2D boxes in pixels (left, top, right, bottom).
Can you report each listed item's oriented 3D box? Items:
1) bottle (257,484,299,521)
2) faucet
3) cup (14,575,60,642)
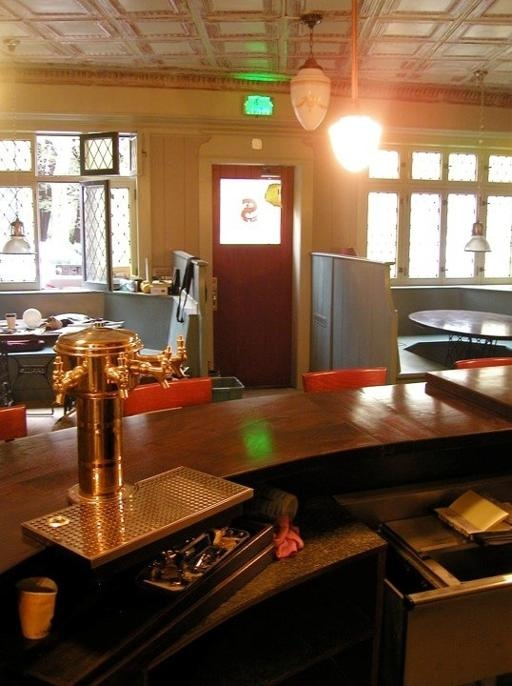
[{"bbox_3d":[0.054,0.362,1.260,0.080,0.030,0.082,4,6,0],"label":"bottle"},{"bbox_3d":[-0.223,0.046,0.918,0.221,0.104,0.240,-4,5,-18],"label":"faucet"},{"bbox_3d":[-0.302,0.367,0.752,0.051,0.091,0.098,-5,5,-23],"label":"cup"}]
